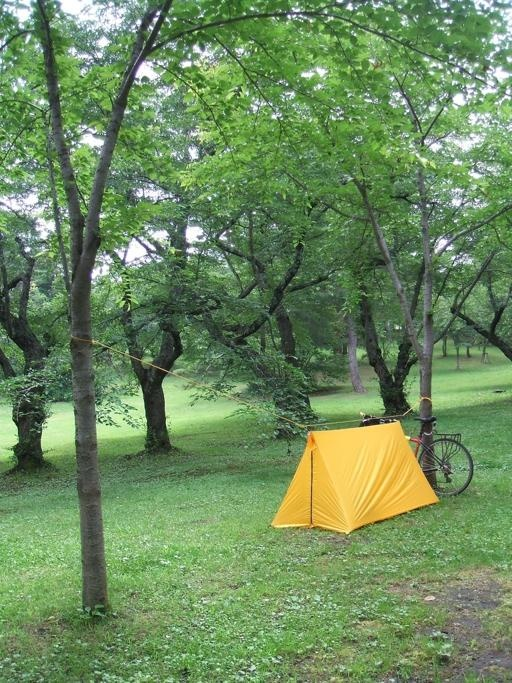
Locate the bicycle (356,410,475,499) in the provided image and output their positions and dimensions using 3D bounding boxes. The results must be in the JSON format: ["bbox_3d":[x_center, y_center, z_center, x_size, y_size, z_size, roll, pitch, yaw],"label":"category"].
[{"bbox_3d":[2.638,1.961,12.471,2.626,1.307,1.296,-8,-14,44],"label":"bicycle"}]

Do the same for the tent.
[{"bbox_3d":[1.581,1.980,11.224,1.555,1.189,2.703,-1,0,43],"label":"tent"}]
